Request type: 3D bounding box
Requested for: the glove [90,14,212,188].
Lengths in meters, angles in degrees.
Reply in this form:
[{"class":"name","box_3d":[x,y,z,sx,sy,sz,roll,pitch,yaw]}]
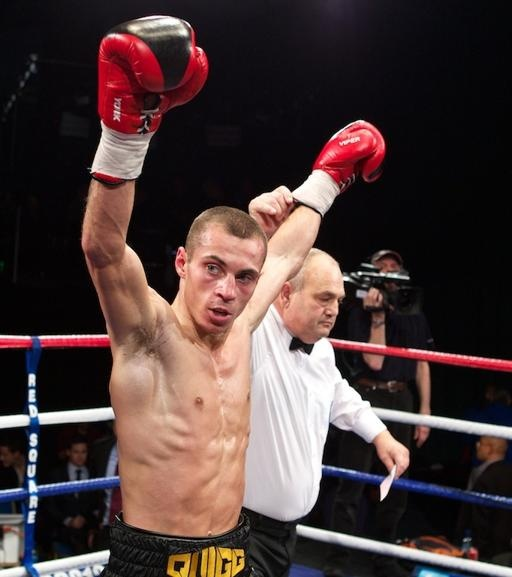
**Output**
[{"class":"glove","box_3d":[-0.238,-0.427,1.332,0.195,0.401,0.301,10,11,7]}]
